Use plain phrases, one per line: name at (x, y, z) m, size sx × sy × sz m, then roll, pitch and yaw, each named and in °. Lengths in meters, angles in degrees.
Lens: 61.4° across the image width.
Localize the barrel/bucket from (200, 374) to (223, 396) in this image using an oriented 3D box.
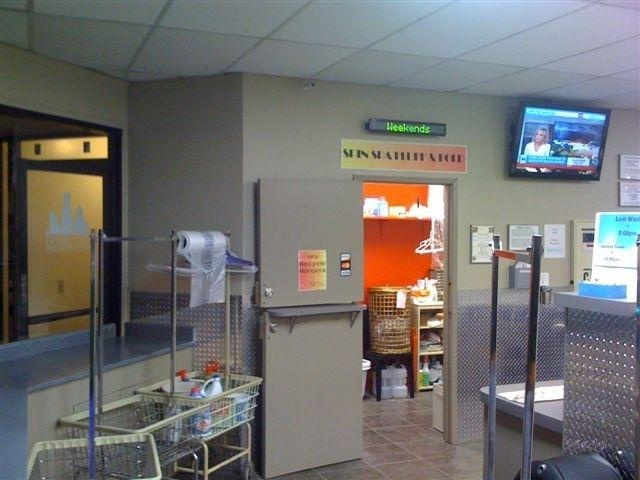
barrel/bucket at (-0.801, 1.077, 4.001) m, size 0.159 × 0.168 × 0.100 m, roll 2°, pitch 2°, yaw -28°

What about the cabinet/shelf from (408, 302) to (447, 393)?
cabinet/shelf at (1.400, 1.359, 6.928) m, size 0.506 × 1.112 × 0.489 m, roll 1°, pitch 4°, yaw -5°

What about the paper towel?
paper towel at (-0.836, 0.198, 3.918) m, size 0.181 × 0.515 × 0.415 m, roll 5°, pitch 5°, yaw 39°

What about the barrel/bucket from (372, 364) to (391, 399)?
barrel/bucket at (0.784, 1.726, 6.594) m, size 0.216 × 0.400 × 0.363 m, roll 2°, pitch 3°, yaw 0°

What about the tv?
tv at (2.500, -1.011, 5.550) m, size 1.096 × 0.727 × 0.174 m, roll 1°, pitch 4°, yaw -18°
